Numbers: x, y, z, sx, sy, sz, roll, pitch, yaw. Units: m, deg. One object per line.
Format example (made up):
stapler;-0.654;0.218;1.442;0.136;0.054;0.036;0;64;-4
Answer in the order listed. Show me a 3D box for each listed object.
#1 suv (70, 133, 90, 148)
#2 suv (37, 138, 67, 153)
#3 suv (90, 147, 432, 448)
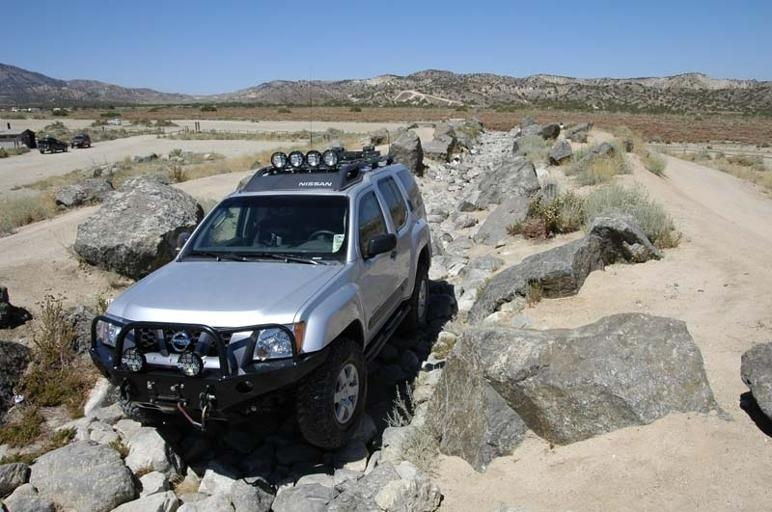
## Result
suv;-25.832;-9.607;42.658;1.248;1.098;2.176;-2;3;-2
suv;-26.635;-8.900;40.206;1.255;1.183;2.473;5;18;7
suv;-1.178;0.119;7.449;3.000;2.494;5.281;0;19;16
